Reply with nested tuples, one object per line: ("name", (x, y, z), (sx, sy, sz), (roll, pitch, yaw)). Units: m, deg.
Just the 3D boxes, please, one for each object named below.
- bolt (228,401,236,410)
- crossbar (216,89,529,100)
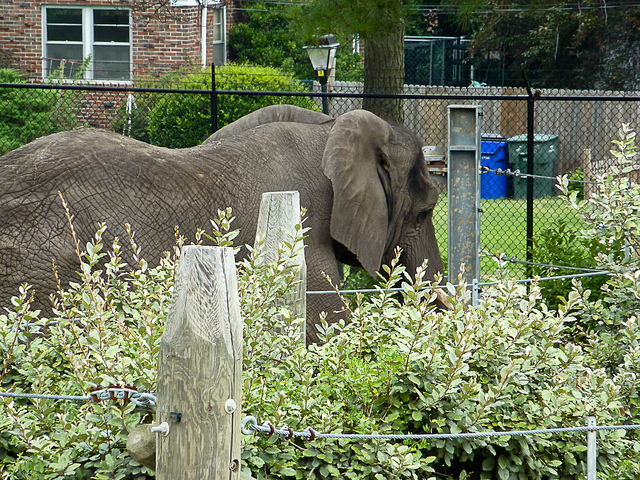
("bolt", (-0.649, 1.209, 10.185), (0.042, 0.064, 0.018), (1, 0, -10))
("crossbar", (0.584, -1.607, 15.588), (3.422, 0.103, 0.938), (-1, 4, -8))
